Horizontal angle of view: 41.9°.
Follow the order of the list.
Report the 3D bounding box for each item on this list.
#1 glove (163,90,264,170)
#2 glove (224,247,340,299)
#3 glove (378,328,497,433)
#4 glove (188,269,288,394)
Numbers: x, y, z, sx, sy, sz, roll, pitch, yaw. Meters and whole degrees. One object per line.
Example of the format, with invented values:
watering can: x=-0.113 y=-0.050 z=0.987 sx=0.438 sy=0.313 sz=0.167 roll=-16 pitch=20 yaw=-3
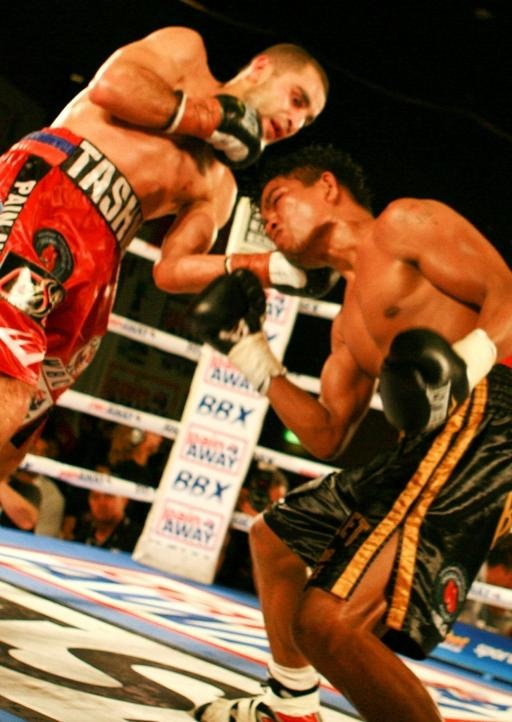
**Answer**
glove: x=-0.135 y=-0.666 z=1.875 sx=0.326 sy=0.126 sz=0.222 roll=23 pitch=25 yaw=-1
glove: x=0.106 y=-0.360 z=2.327 sx=0.426 sy=0.135 sz=0.372 roll=3 pitch=34 yaw=6
glove: x=0.395 y=0.028 z=1.457 sx=0.279 sy=0.193 sz=0.126 roll=-35 pitch=18 yaw=-27
glove: x=-0.058 y=-0.100 z=2.302 sx=0.152 sy=0.476 sz=0.267 roll=24 pitch=67 yaw=32
